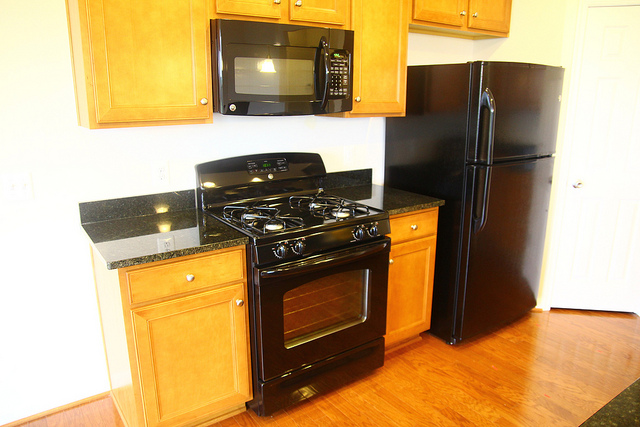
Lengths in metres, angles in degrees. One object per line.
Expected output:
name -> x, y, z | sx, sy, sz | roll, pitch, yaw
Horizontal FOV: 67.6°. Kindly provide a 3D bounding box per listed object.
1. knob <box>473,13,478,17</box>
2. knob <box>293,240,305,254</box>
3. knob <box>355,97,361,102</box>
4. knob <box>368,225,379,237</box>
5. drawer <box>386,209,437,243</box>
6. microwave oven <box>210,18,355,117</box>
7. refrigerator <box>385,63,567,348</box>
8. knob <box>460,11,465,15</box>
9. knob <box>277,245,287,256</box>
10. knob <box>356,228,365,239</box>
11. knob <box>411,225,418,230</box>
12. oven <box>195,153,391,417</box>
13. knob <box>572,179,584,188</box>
knob -> 1.125, -1.445, 3.472 | 0.022, 0.019, 0.035 | 1, 10, -7
knob -> -0.113, 0.192, 2.740 | 0.067, 0.063, 0.022 | -6, 8, -36
knob -> 0.260, -0.762, 3.190 | 0.021, 0.031, 0.049 | 15, 24, 41
knob -> 0.336, 0.103, 2.979 | 0.070, 0.064, 0.038 | -2, 19, -2
drawer -> 0.639, 0.081, 3.281 | 0.357, 0.164, 0.224 | -12, 20, -32
microwave oven -> -0.254, -0.904, 3.080 | 0.939, 0.545, 0.529 | -8, 20, -26
refrigerator -> 1.108, -0.079, 3.560 | 1.253, 1.999, 0.809 | 2, 19, 10
knob -> 1.023, -1.448, 3.438 | 0.038, 0.021, 0.009 | -13, 22, -31
knob -> -0.214, 0.208, 2.723 | 0.047, 0.059, 0.022 | -4, 19, -8
knob -> 0.249, 0.123, 2.933 | 0.057, 0.054, 0.019 | 9, -6, -18
knob -> 0.651, 0.096, 3.282 | 0.027, 0.013, 0.036 | 8, 19, 32
oven -> -0.166, 0.378, 3.240 | 1.026, 1.348, 1.112 | 18, 24, 42
knob -> 2.065, -0.242, 3.833 | 0.082, 0.065, 0.029 | -2, 19, -1
